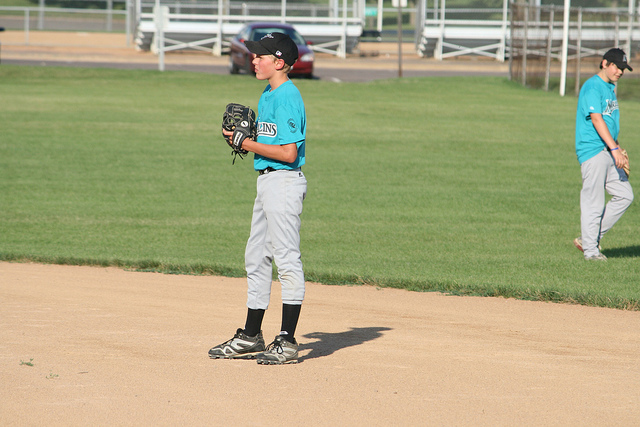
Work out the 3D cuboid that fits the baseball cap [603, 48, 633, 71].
[{"bbox_3d":[4.947,-2.570,23.206,0.410,0.227,0.266,27,15,26],"label":"baseball cap"}]
